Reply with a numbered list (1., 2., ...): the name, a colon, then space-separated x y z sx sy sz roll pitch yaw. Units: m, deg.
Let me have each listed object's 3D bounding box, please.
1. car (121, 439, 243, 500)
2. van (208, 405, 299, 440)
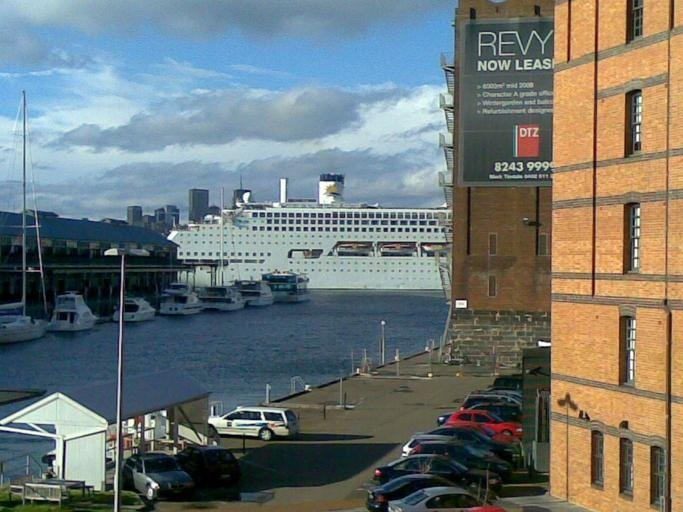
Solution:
1. car: -5.619 7.643 37.481 4.046 1.438 4.684 -4 -6 27
2. van: -3.602 6.899 43.694 5.598 1.051 2.581 -1 -3 7
